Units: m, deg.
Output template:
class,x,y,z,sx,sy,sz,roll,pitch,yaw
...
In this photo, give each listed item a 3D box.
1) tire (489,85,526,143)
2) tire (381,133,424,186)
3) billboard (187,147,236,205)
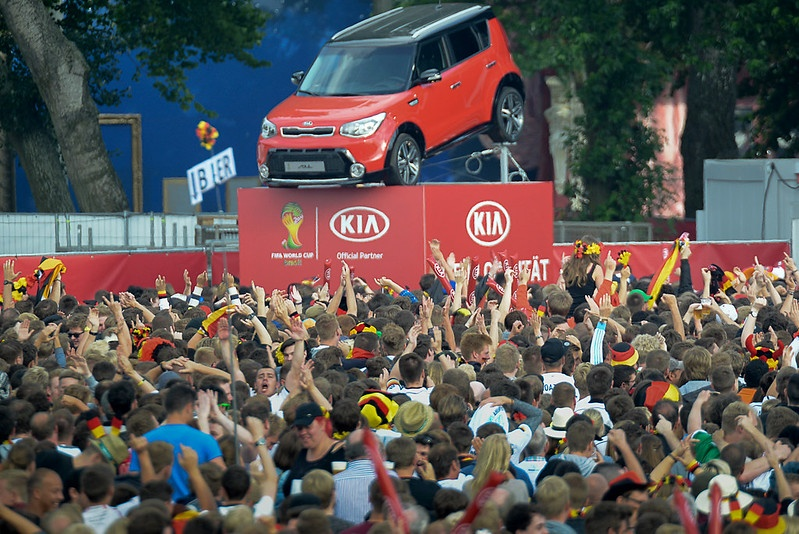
class,x,y,z,sx,sy,sz,roll,pitch,yaw
tire,2.569,-3.924,40.306,0.406,1.307,1.280,1,14,30
tire,0.020,-2.673,38.459,0.437,1.188,1.160,2,4,35
billboard,-5.615,-2.895,48.797,2.199,1.517,0.122,-30,-37,16
